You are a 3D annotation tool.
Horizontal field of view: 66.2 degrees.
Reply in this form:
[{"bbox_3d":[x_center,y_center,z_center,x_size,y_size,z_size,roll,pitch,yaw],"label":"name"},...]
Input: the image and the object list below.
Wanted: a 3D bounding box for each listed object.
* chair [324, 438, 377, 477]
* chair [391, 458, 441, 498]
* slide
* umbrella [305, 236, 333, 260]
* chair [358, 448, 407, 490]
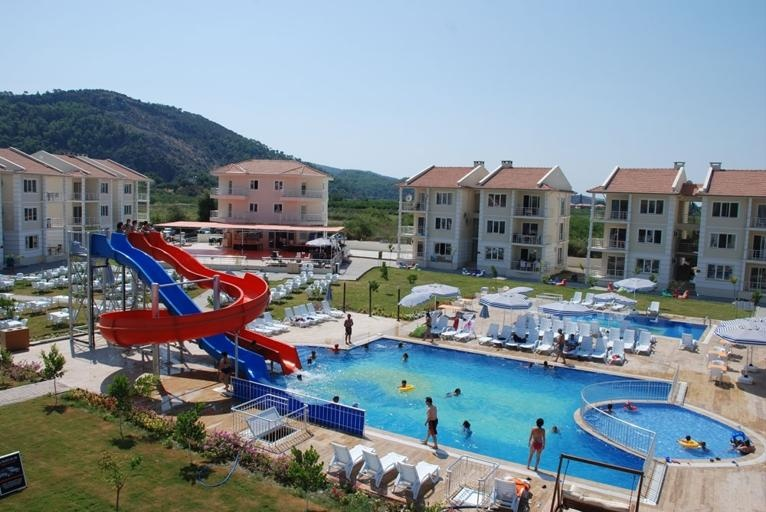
[{"bbox_3d":[-1.170,7.822,23.357,1.161,0.801,2.157,3,2,35],"label":"chair"},{"bbox_3d":[1.360,8.385,22.400,1.652,1.200,1.592,-3,-3,23],"label":"chair"},{"bbox_3d":[-11.021,3.421,31.246,10.967,4.270,7.659,19,12,22],"label":"slide"},{"bbox_3d":[-6.907,-0.589,65.590,3.137,1.937,3.051,3,7,30],"label":"umbrella"},{"bbox_3d":[-0.074,8.038,22.795,1.187,1.003,1.802,7,15,34],"label":"chair"}]
